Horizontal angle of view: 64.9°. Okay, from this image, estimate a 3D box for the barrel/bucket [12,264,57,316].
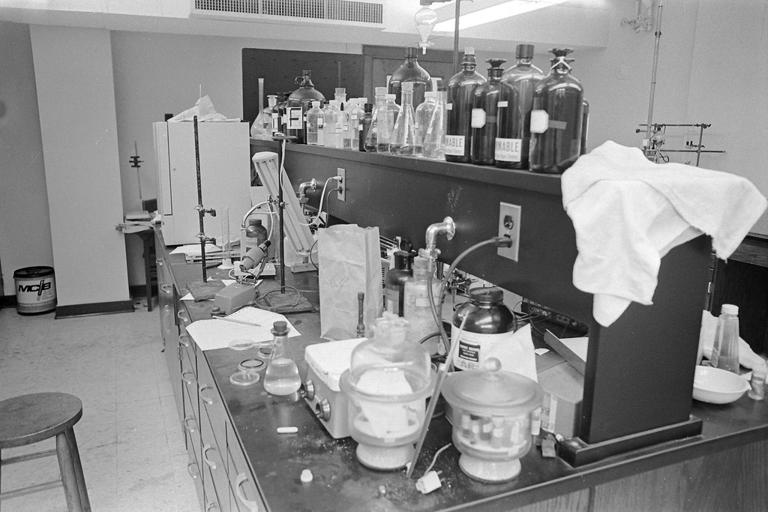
[{"bbox_3d":[-3.466,0.344,6.257,0.471,0.489,0.467,2,8,0],"label":"barrel/bucket"}]
